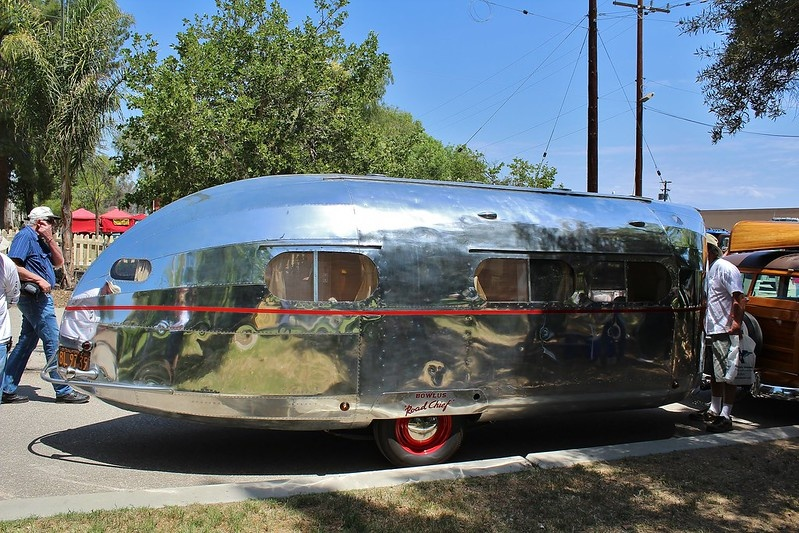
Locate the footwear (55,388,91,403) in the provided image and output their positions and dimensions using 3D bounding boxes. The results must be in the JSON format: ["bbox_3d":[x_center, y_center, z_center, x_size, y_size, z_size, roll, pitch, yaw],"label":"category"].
[{"bbox_3d":[-4.685,1.843,10.032,0.436,0.173,0.179,-2,4,-15],"label":"footwear"}]

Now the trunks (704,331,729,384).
[{"bbox_3d":[4.372,1.193,9.494,0.183,0.523,0.263,0,-4,-16],"label":"trunks"}]

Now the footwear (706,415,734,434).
[{"bbox_3d":[4.359,2.121,9.465,0.452,0.175,0.160,1,-5,-12],"label":"footwear"}]

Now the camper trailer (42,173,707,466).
[{"bbox_3d":[0.066,0.511,9.698,9.017,3.278,3.312,0,3,-16],"label":"camper trailer"}]

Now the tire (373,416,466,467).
[{"bbox_3d":[0.217,2.033,8.224,0.688,0.641,0.228,1,5,-10],"label":"tire"}]
